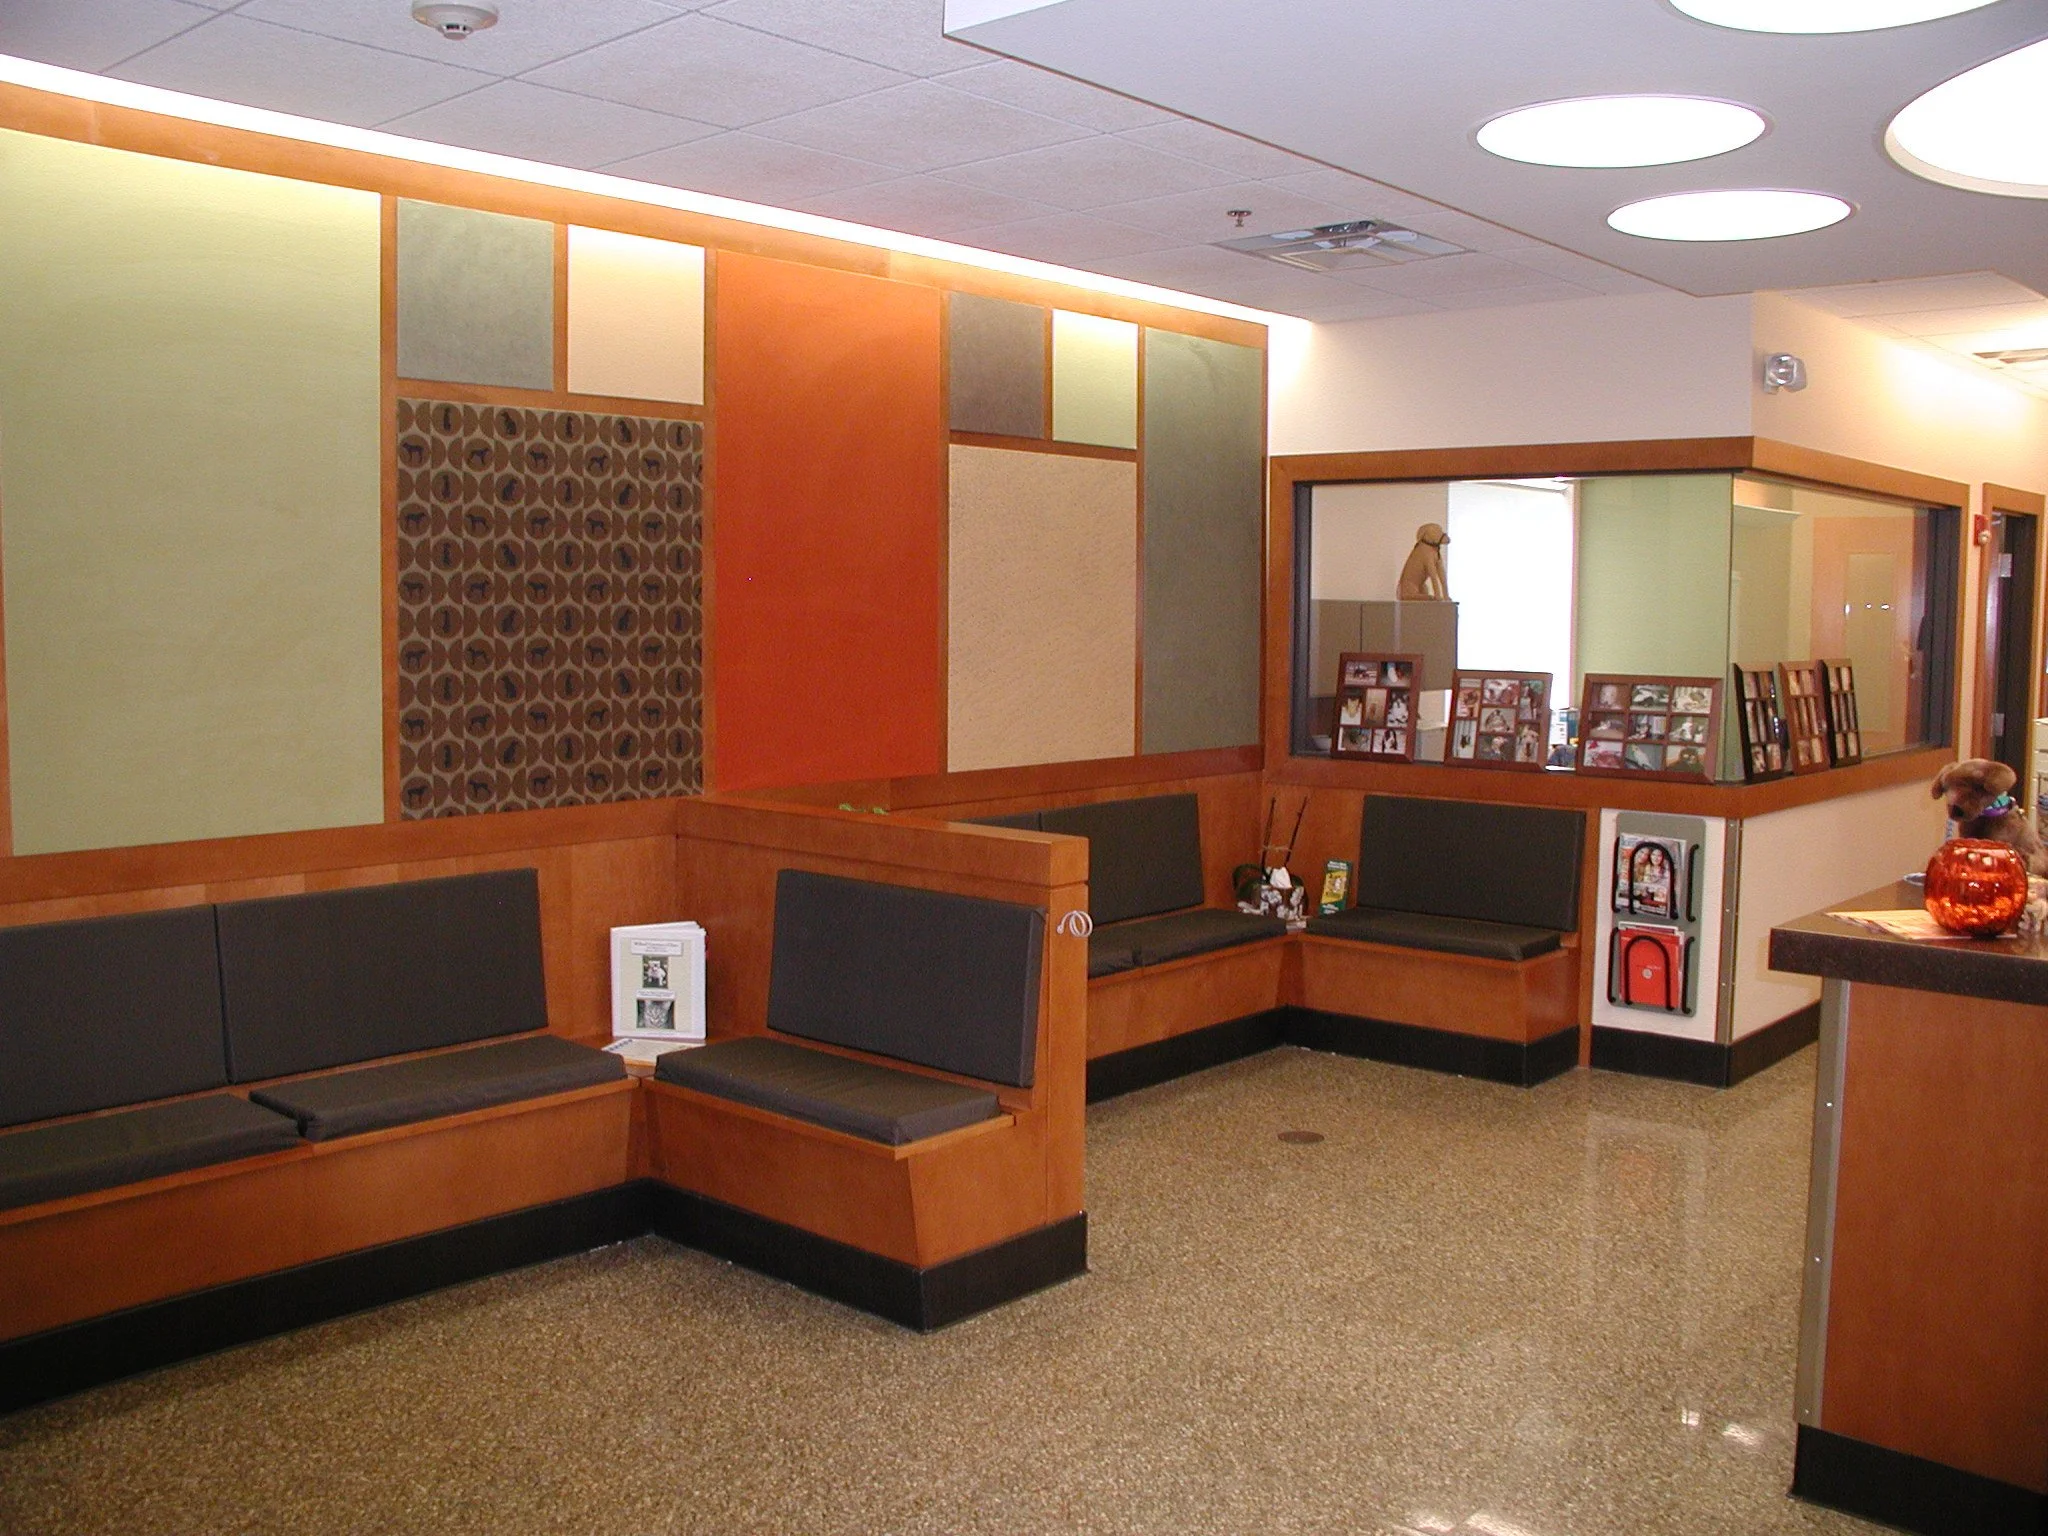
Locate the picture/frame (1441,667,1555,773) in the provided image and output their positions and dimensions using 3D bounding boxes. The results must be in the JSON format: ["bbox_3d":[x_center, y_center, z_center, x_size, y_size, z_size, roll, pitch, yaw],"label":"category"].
[{"bbox_3d":[2.251,-0.215,7.186,0.484,0.501,0.042,-3,-15,43],"label":"picture/frame"}]

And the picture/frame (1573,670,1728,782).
[{"bbox_3d":[2.804,-0.176,6.763,0.479,0.411,0.033,2,-8,40],"label":"picture/frame"}]

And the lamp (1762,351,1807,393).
[{"bbox_3d":[3.283,-1.722,6.547,0.214,0.203,0.052,-1,10,-35],"label":"lamp"}]
